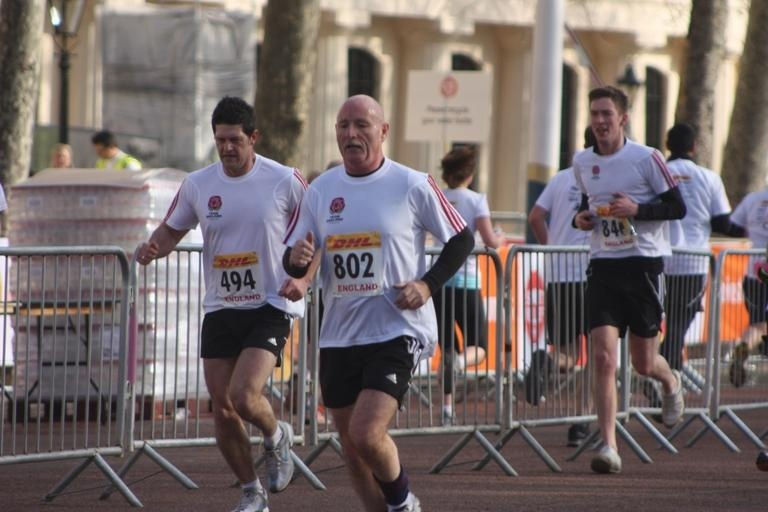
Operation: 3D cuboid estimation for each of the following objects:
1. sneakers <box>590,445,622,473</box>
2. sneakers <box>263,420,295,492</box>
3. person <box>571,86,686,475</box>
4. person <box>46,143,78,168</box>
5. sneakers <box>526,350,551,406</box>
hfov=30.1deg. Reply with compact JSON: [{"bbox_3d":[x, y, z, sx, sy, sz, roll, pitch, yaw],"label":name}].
[{"bbox_3d":[2.002,1.826,12.931,0.261,0.252,0.130,0,5,2],"label":"sneakers"},{"bbox_3d":[-0.931,1.712,12.472,0.215,0.637,0.294,-4,-7,40],"label":"sneakers"},{"bbox_3d":[2.297,0.207,13.282,1.040,3.524,0.936,-1,5,-11],"label":"person"},{"bbox_3d":[-4.225,-1.314,18.704,0.245,0.305,0.909,-2,5,-15],"label":"person"},{"bbox_3d":[1.470,1.162,13.835,0.198,0.578,0.227,7,-5,-4],"label":"sneakers"}]
